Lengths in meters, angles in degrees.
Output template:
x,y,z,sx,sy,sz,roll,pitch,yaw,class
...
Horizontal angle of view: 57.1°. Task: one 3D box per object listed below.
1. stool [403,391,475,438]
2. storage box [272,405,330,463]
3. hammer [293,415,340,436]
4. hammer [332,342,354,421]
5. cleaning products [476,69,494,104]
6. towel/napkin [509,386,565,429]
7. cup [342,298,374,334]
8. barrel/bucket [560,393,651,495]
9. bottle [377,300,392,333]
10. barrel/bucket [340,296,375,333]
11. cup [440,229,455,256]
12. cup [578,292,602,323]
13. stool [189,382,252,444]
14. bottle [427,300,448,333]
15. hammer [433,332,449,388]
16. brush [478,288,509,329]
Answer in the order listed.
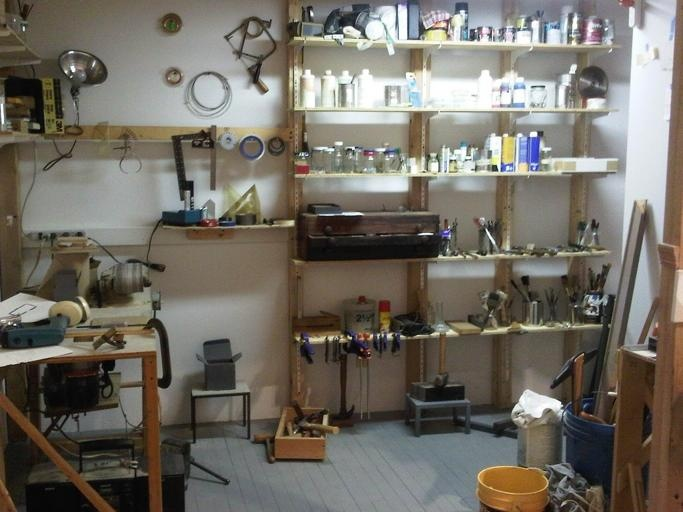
x,y,z,sx,sy,sz,roll,pitch,yaw,class
0.791,1.304,5.241,0.357,0.202,0.355,0,2,-9,stool
-0.296,1.356,4.763,0.277,0.153,0.489,0,7,-1,storage box
-0.150,1.289,4.770,0.410,0.138,0.112,7,-13,13,hammer
0.013,1.077,5.237,0.189,0.598,0.281,-2,7,-1,hammer
1.193,-1.359,5.124,0.165,0.287,0.090,-5,8,-20,cleaning products
1.415,1.093,4.502,0.270,0.145,0.283,-3,2,-10,towel/napkin
0.159,0.466,5.200,0.256,0.319,0.269,0,3,0,cup
1.753,1.182,4.159,0.482,0.538,0.468,0,4,0,barrel/bucket
0.368,0.484,5.290,0.106,0.259,0.275,-1,8,6,bottle
0.168,0.459,5.215,0.262,0.323,0.273,0,3,0,barrel/bucket
0.910,-0.125,5.236,0.114,0.210,0.250,2,9,31,cup
2.118,0.435,5.326,0.188,0.336,0.189,5,-6,1,cup
-0.945,1.318,4.936,0.521,0.479,0.395,0,1,-8,stool
0.807,0.506,5.278,0.198,0.292,0.198,-3,4,0,bottle
0.837,0.834,5.244,0.114,0.476,0.512,-1,8,11,hammer
1.309,0.427,5.359,0.221,0.310,0.345,0,8,15,brush
